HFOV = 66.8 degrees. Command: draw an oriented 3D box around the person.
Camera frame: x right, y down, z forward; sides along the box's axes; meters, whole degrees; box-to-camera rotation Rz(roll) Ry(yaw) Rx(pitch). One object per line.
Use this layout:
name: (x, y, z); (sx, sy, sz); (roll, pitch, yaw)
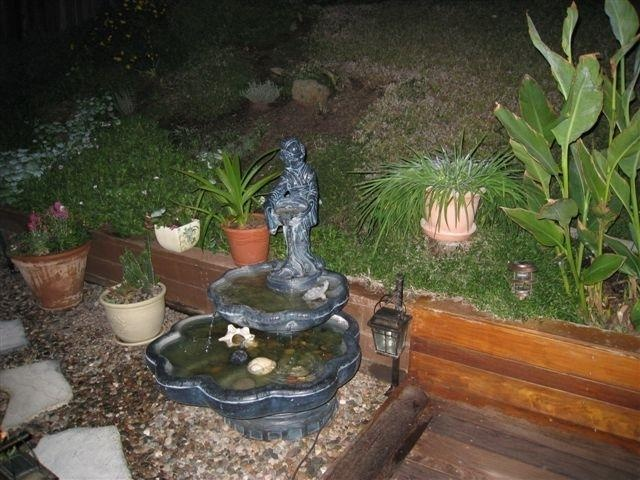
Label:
person: (-0.234, -0.252, 4.162); (0.467, 1.062, 0.574); (-4, 35, -4)

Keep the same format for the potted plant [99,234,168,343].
potted plant: (-2.017, 0.540, 5.314); (0.624, 1.057, 0.674); (5, 21, 32)

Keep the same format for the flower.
flower: (-3.308, -0.086, 5.799); (0.731, 0.441, 0.720); (15, 35, 22)

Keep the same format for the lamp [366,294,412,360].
lamp: (0.593, 0.750, 4.164); (0.315, 0.435, 0.336); (7, 28, 21)

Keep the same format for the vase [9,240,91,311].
vase: (-3.199, 0.456, 5.933); (0.673, 0.583, 0.685); (-10, 12, -16)
